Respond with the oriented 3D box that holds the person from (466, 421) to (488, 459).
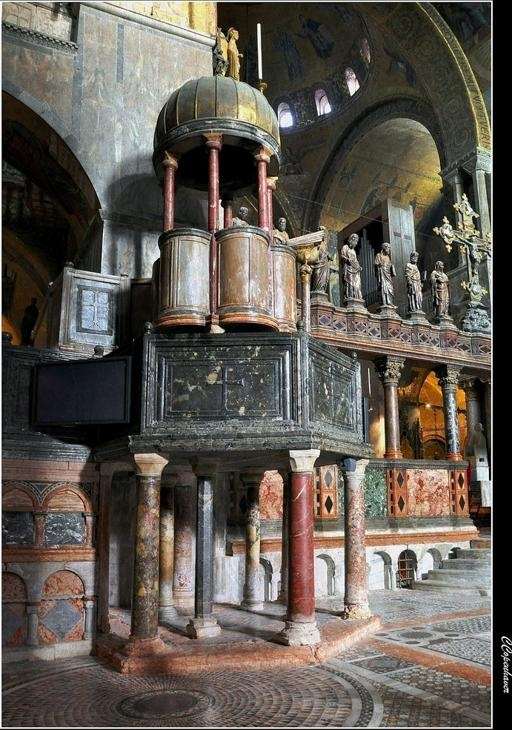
[{"bbox_3d":[6.121,2.130,17.241,0.558,1.064,0.539,-4,-10,21],"label":"person"}]
